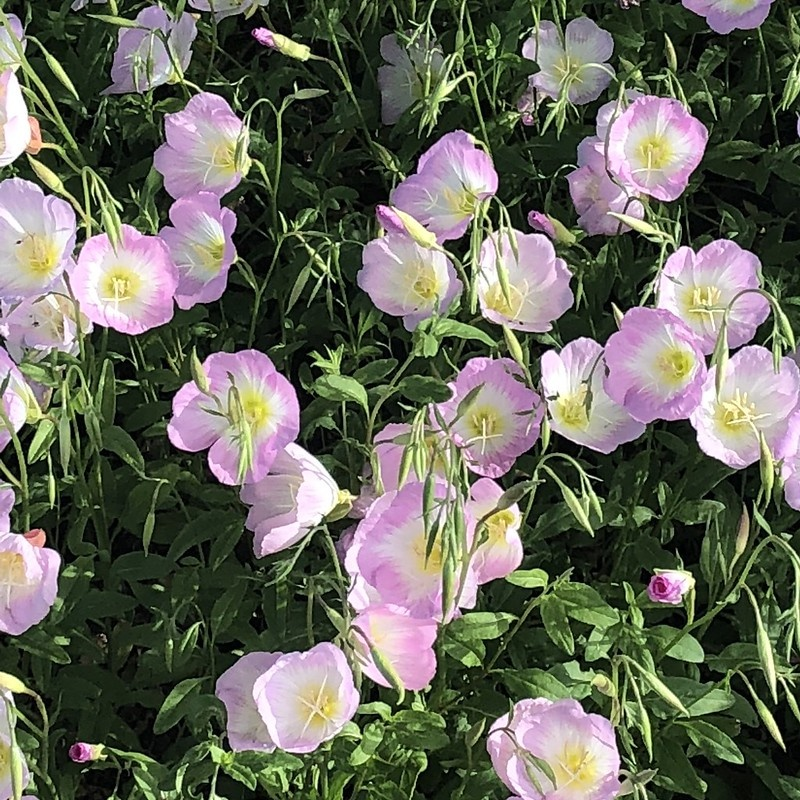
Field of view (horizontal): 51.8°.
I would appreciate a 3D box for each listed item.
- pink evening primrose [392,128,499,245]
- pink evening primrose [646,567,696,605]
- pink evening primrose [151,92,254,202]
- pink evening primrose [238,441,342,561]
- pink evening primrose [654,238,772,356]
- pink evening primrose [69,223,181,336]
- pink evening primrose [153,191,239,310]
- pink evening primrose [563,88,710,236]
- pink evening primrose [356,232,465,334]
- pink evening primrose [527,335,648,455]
[{"bbox_3d":[0.077,-0.359,1.393,0.168,0.094,0.190,4,88,30],"label":"pink evening primrose"},{"bbox_3d":[0.412,0.280,1.238,0.079,0.068,0.044,4,71,0],"label":"pink evening primrose"},{"bbox_3d":[-0.351,-0.458,1.540,0.188,0.102,0.210,5,105,21],"label":"pink evening primrose"},{"bbox_3d":[-0.156,0.152,1.281,0.160,0.091,0.173,-6,83,42],"label":"pink evening primrose"},{"bbox_3d":[0.524,-0.183,1.405,0.190,0.093,0.204,18,80,-1],"label":"pink evening primrose"},{"bbox_3d":[-0.485,-0.213,1.440,0.178,0.173,0.086,-54,35,-11],"label":"pink evening primrose"},{"bbox_3d":[-0.346,-0.266,1.470,0.163,0.090,0.182,26,109,15],"label":"pink evening primrose"},{"bbox_3d":[0.439,-0.412,1.559,0.286,0.137,0.269,-18,57,12],"label":"pink evening primrose"},{"bbox_3d":[0.032,-0.218,1.429,0.169,0.081,0.156,42,124,15],"label":"pink evening primrose"},{"bbox_3d":[0.298,-0.003,1.400,0.180,0.089,0.191,43,57,-14],"label":"pink evening primrose"}]
